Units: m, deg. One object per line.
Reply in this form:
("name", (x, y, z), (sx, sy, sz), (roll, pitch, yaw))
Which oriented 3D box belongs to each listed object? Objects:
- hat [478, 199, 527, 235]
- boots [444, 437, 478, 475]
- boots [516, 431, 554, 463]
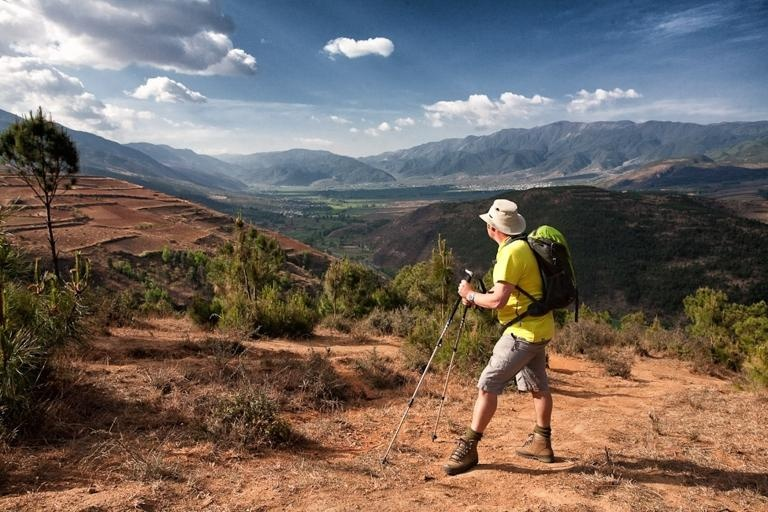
("hat", (1.914, -0.681, 8.164), (0.737, 0.416, 0.829), (-2, 26, -10))
("boots", (1.239, 3.119, 7.982), (0.759, 0.456, 0.306), (-1, 1, -38))
("boots", (2.477, 3.072, 8.188), (0.725, 0.518, 0.311), (-1, -10, 36))
